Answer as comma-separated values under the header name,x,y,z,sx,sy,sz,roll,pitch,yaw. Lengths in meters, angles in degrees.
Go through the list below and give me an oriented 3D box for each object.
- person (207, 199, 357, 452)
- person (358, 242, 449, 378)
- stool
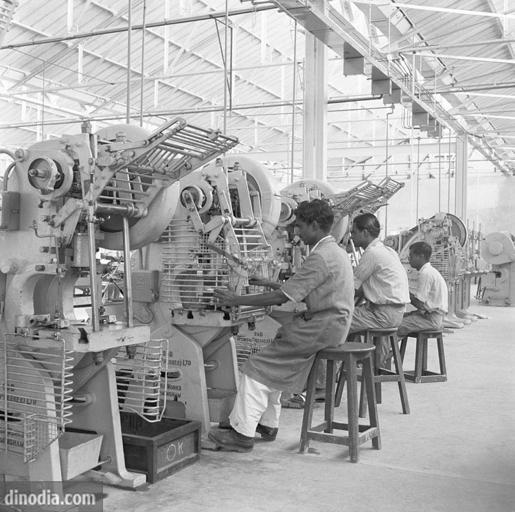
name,x,y,z,sx,sy,sz,roll,pitch,yaw
person,0.177,0.442,4.954,0.863,1.614,0.453,4,9,0
person,1.416,0.511,7.839,1.033,1.648,0.838,0,-20,12
stool,0.765,0.940,5.297,0.763,1.058,0.806,-4,0,33
